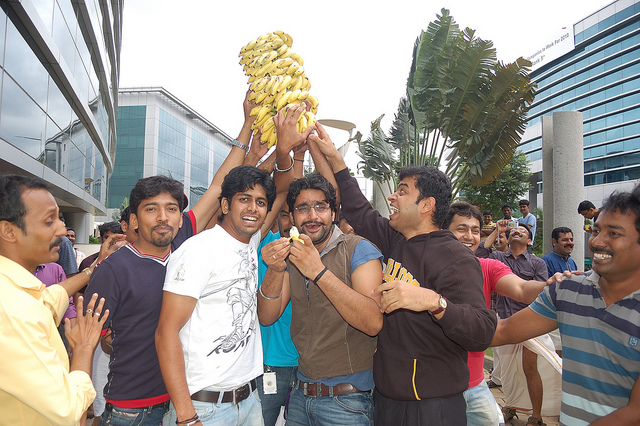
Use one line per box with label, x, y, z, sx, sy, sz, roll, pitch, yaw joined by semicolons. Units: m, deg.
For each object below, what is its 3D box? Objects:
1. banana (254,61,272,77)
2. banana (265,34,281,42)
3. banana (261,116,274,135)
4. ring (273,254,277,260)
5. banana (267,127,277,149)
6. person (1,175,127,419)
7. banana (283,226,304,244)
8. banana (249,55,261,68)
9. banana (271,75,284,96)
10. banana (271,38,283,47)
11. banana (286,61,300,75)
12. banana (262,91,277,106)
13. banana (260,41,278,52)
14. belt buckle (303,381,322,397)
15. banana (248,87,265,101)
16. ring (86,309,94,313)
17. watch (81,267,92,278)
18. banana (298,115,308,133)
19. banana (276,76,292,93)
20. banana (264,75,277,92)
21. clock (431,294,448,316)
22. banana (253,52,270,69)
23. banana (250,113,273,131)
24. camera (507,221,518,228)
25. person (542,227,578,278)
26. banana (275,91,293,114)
banana;-0.680;-1.711;4.865;0.081;0.270;0.078;43;14;7
banana;-0.576;-2.162;4.965;0.079;0.071;0.233;-10;14;42
banana;-0.648;-1.086;5.017;0.075;0.259;0.073;26;11;-21
ring;-0.492;0.468;4.404;0.012;0.049;0.012;-21;20;8
banana;-0.594;-0.932;5.061;0.072;0.227;0.071;14;18;-5
person;-2.696;0.856;4.107;0.993;2.281;1.467;5;-12;-28
banana;-0.267;0.242;4.521;0.176;0.229;0.310;0;-11;-3
banana;-0.771;-1.839;4.903;0.061;0.195;0.058;20;-18;46
banana;-0.503;-1.499;4.771;0.072;0.243;0.072;32;-12;-31
banana;-0.514;-2.072;4.936;0.123;0.100;0.046;-17;-16;9
banana;-0.322;-1.737;4.899;0.090;0.166;0.057;36;-15;31
banana;-0.611;-1.354;4.894;0.061;0.233;0.084;41;33;-4
banana;-0.627;-2.029;4.919;0.045;0.154;0.055;39;-8;36
belt buckle;-0.040;1.974;4.583;0.176;0.182;0.058;3;1;15
banana;-0.757;-1.424;4.901;0.080;0.063;0.226;3;-35;-43
ring;-2.221;0.936;3.908;0.061;0.037;0.021;-2;-8;1
watch;-2.733;0.686;4.762;0.088;0.093;0.077;13;-14;-8
banana;-0.201;-1.061;4.864;0.063;0.249;0.081;7;4;14
banana;-0.421;-1.525;4.819;0.092;0.272;0.095;50;-17;-26
banana;-0.593;-1.538;4.783;0.073;0.271;0.075;35;-12;-26
clock;1.115;0.886;3.890;0.116;0.181;0.175;21;-41;-16
banana;-0.719;-1.825;4.839;0.080;0.281;0.098;42;-3;-10
banana;-0.708;-1.127;4.973;0.057;0.229;0.081;48;0;-15
camera;3.771;0.211;7.871;0.144;0.166;0.285;-7;-13;30
person;5.147;0.820;8.616;1.024;1.125;0.584;1;-4;-28
banana;-0.418;-1.301;4.776;0.086;0.310;0.089;31;-3;-2
